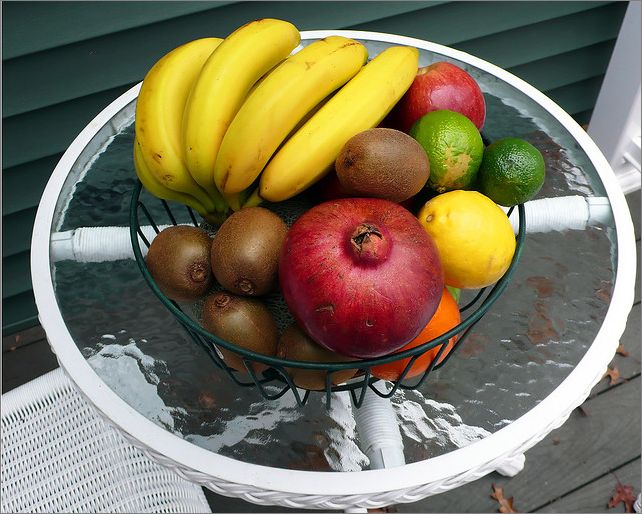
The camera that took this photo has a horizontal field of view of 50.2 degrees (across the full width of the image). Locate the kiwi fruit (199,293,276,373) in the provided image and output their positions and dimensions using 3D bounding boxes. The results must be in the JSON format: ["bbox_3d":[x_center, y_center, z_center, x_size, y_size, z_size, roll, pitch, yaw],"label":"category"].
[{"bbox_3d":[-0.111,0.094,0.949,0.097,0.079,0.080,29,50,34],"label":"kiwi fruit"}]

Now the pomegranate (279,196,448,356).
[{"bbox_3d":[0.059,0.007,0.979,0.233,0.183,0.234,-23,45,-38],"label":"pomegranate"}]

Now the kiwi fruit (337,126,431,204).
[{"bbox_3d":[0.086,-0.126,0.943,0.127,0.084,0.068,1,40,8],"label":"kiwi fruit"}]

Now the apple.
[{"bbox_3d":[0.185,-0.247,1.101,0.123,0.104,0.123,-4,34,-14],"label":"apple"}]

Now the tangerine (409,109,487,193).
[{"bbox_3d":[0.190,-0.158,1.013,0.100,0.128,0.103,9,11,15],"label":"tangerine"}]

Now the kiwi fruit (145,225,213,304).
[{"bbox_3d":[-0.197,0.014,0.981,0.098,0.100,0.073,-18,41,-15],"label":"kiwi fruit"}]

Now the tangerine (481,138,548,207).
[{"bbox_3d":[0.284,-0.130,1.025,0.096,0.122,0.096,-6,-1,-15],"label":"tangerine"}]

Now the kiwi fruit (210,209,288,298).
[{"bbox_3d":[-0.104,-0.010,0.975,0.102,0.107,0.137,17,43,-15],"label":"kiwi fruit"}]
